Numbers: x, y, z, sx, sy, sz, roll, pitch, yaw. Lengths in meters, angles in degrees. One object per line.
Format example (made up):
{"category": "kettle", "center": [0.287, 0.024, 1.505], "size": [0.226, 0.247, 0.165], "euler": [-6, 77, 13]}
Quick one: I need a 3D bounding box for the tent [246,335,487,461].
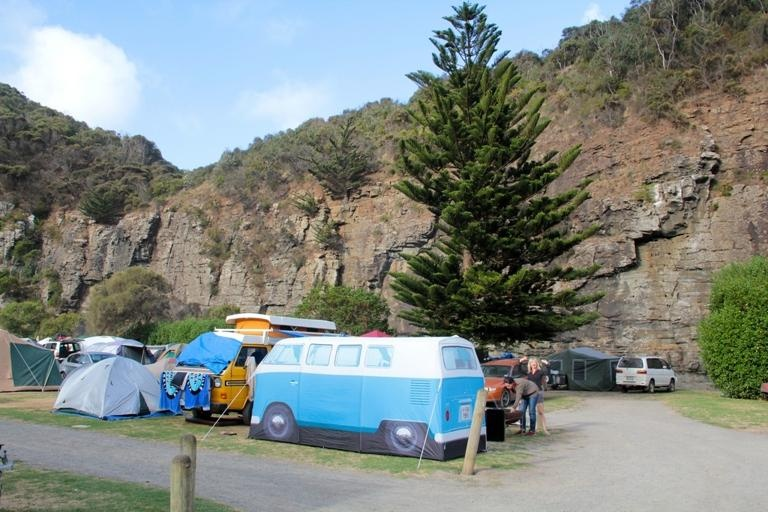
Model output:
{"category": "tent", "center": [-0.459, 4.123, 18.556], "size": [6.172, 2.827, 3.318], "euler": [0, -4, 22]}

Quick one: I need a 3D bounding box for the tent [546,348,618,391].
{"category": "tent", "center": [11.288, 6.330, 33.015], "size": [2.677, 1.475, 2.770], "euler": [-7, -9, 42]}

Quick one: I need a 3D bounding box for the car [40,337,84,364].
{"category": "car", "center": [-16.835, 4.975, 30.403], "size": [2.774, 1.296, 1.542], "euler": [-7, -7, 37]}

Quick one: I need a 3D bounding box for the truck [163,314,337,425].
{"category": "truck", "center": [-4.903, 4.179, 22.941], "size": [3.647, 3.640, 6.715], "euler": [-5, -8, 34]}

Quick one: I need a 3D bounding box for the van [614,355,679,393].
{"category": "van", "center": [13.856, 6.264, 31.244], "size": [2.813, 1.852, 1.529], "euler": [7, -13, -25]}

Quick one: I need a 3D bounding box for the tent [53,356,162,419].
{"category": "tent", "center": [-9.601, 4.686, 20.632], "size": [2.754, 1.286, 2.547], "euler": [-1, -4, 40]}

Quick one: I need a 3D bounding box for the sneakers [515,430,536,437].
{"category": "sneakers", "center": [4.741, 5.914, 19.700], "size": [0.659, 0.264, 0.223], "euler": [2, -5, 24]}

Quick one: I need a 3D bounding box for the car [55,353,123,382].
{"category": "car", "center": [-11.532, 4.359, 22.964], "size": [3.791, 1.192, 1.735], "euler": [-7, -7, 27]}
